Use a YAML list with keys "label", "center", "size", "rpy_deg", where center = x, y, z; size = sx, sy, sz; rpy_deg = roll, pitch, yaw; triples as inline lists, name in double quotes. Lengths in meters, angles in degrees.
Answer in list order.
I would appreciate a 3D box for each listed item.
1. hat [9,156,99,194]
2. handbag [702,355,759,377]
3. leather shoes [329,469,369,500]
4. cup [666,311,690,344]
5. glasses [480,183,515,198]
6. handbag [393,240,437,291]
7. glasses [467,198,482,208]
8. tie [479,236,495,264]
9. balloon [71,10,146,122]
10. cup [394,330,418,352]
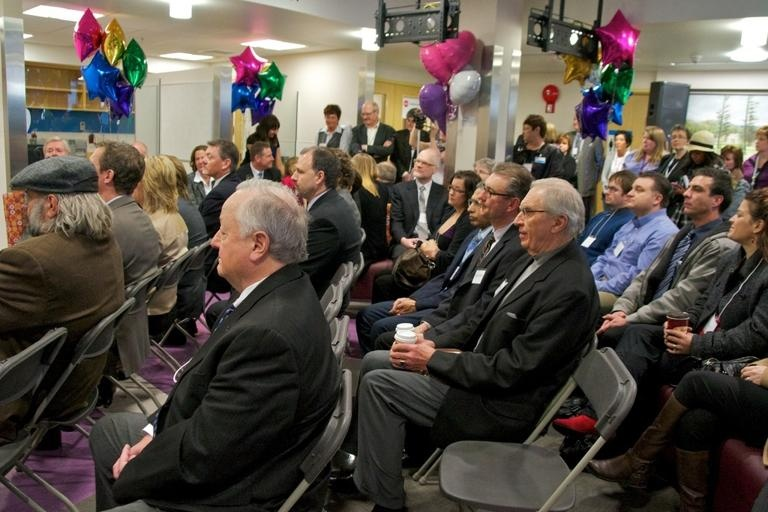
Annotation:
- label: "hat"
  center: [-1.819, -0.464, 3.150]
  size: [0.440, 0.178, 0.345]
  rpy_deg: [-1, 13, -30]
- label: "handbag"
  center: [1.975, 0.623, 3.259]
  size: [0.177, 0.072, 0.149]
  rpy_deg: [-3, 6, 11]
- label: "leather shoes"
  center: [-0.220, 1.394, 3.443]
  size: [0.233, 0.126, 0.105]
  rpy_deg: [2, 12, -2]
- label: "cup"
  center: [1.792, 0.418, 3.461]
  size: [0.095, 0.120, 0.122]
  rpy_deg: [1, -2, 13]
- label: "glasses"
  center: [0.795, -0.447, 3.956]
  size: [0.136, 0.043, 0.139]
  rpy_deg: [5, 12, -14]
- label: "handbag"
  center: [0.270, 0.018, 5.342]
  size: [0.361, 0.371, 0.271]
  rpy_deg: [1, 17, 44]
- label: "glasses"
  center: [0.711, -0.420, 4.435]
  size: [0.083, 0.049, 0.085]
  rpy_deg: [4, 2, -2]
- label: "tie"
  center: [0.745, -0.069, 4.139]
  size: [0.049, 0.042, 0.353]
  rpy_deg: [-6, 30, 22]
- label: "balloon"
  center: [-3.839, -2.709, 7.970]
  size: [0.547, 1.431, 0.762]
  rpy_deg: [12, 15, 40]
- label: "cup"
  center: [0.119, 0.486, 3.278]
  size: [0.091, 0.080, 0.094]
  rpy_deg: [1, 5, 0]
